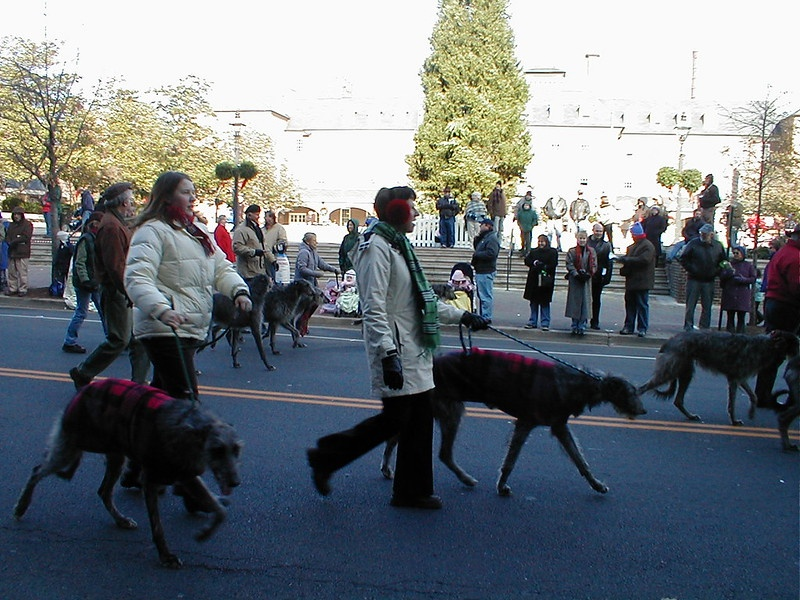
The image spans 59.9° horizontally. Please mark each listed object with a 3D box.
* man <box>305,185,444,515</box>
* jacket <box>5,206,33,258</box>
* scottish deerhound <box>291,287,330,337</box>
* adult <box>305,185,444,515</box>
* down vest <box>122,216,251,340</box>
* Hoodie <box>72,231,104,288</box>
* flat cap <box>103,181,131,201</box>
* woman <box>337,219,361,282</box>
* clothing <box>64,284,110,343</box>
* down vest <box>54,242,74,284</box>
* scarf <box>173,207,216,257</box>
[{"bbox_3d":[-0.098,0.464,6.006,1.042,2.836,0.588,-6,11,-39],"label":"man"},{"bbox_3d":[-9.482,-1.634,17.171,0.574,1.300,0.566,0,9,-2],"label":"jacket"},{"bbox_3d":[-1.718,0.256,12.808,0.357,0.788,1.472,3,-29,-21],"label":"scottish deerhound"},{"bbox_3d":[-0.097,0.464,6.006,1.041,2.836,0.588,-6,11,-39],"label":"adult"},{"bbox_3d":[-1.829,-0.148,5.907,0.939,1.045,0.504,-7,11,-40],"label":"down vest"},{"bbox_3d":[-5.068,-0.670,11.165,0.457,1.016,0.985,1,9,-16],"label":"Hoodie"},{"bbox_3d":[-3.007,-1.152,7.345,0.205,0.076,0.239,-3,24,28],"label":"flat cap"},{"bbox_3d":[-1.216,-0.920,17.397,0.631,2.085,0.422,1,-1,1],"label":"woman"},{"bbox_3d":[-5.206,0.214,11.621,0.715,1.269,0.256,3,-25,-32],"label":"clothing"},{"bbox_3d":[-8.026,-0.845,16.534,0.531,1.141,0.780,1,21,-25],"label":"down vest"},{"bbox_3d":[-1.792,-0.605,6.013,0.362,0.127,0.271,32,-36,0],"label":"scarf"}]
